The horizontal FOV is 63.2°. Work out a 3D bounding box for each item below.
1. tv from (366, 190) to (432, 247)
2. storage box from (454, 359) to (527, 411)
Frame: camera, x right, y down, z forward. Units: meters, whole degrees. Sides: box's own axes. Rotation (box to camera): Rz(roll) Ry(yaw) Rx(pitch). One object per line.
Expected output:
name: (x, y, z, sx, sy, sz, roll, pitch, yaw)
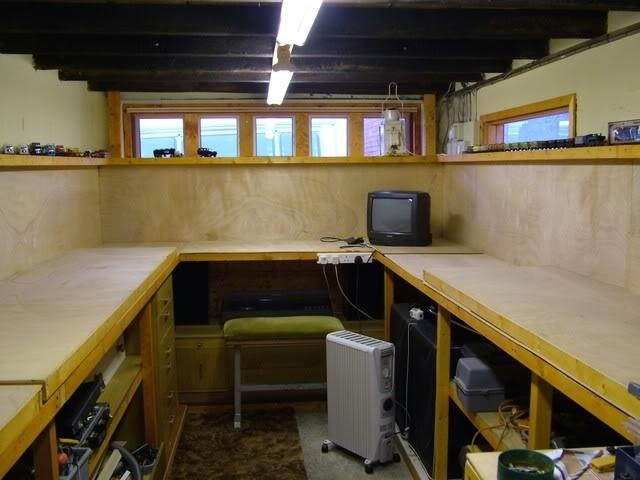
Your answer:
tv: (0.629, -0.168, 4.069, 0.423, 0.404, 0.434, 0, 2, 32)
storage box: (0.816, 0.684, 2.514, 0.206, 0.179, 0.258, -3, 8, -3)
